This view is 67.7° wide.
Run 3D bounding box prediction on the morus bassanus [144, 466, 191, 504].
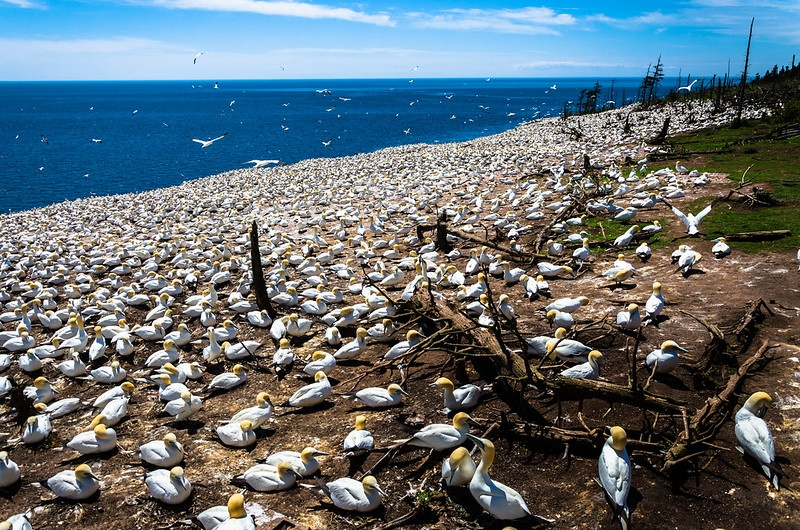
[{"bbox_3d":[-5.406,5.088,13.820,0.988,0.831,0.517,1,25,15],"label":"morus bassanus"}]
